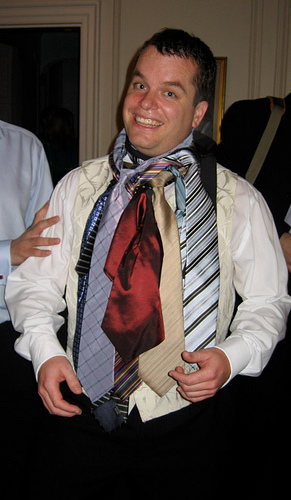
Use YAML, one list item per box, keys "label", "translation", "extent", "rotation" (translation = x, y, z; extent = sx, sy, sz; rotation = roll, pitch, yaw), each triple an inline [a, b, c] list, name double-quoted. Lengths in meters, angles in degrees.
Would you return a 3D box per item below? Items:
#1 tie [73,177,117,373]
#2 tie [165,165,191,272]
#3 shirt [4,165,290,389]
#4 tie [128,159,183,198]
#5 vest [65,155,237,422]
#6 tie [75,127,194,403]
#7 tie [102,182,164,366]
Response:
- label: "tie"
  translation: [-0.110, 0.048, 0.887]
  extent: [0.071, 0.422, 0.020]
  rotation: [3, -17, 6]
- label: "tie"
  translation: [0.078, -0.063, 0.841]
  extent: [0.061, 0.193, 0.022]
  rotation: [0, -5, -1]
- label: "shirt"
  translation: [-0.003, 0.064, 0.858]
  extent: [0.472, 0.554, 0.180]
  rotation: [6, -14, 4]
- label: "tie"
  translation: [0.019, -0.156, 0.855]
  extent: [0.098, 0.029, 0.061]
  rotation: [-39, 14, -28]
- label: "vest"
  translation: [0.007, 0.042, 0.887]
  extent: [0.326, 0.598, 0.149]
  rotation: [3, -20, 4]
- label: "tie"
  translation: [-0.067, -0.018, 0.881]
  extent: [0.160, 0.637, 0.031]
  rotation: [13, -8, -7]
- label: "tie"
  translation: [-0.022, 0.043, 0.792]
  extent: [0.117, 0.313, 0.133]
  rotation: [3, 14, -6]
